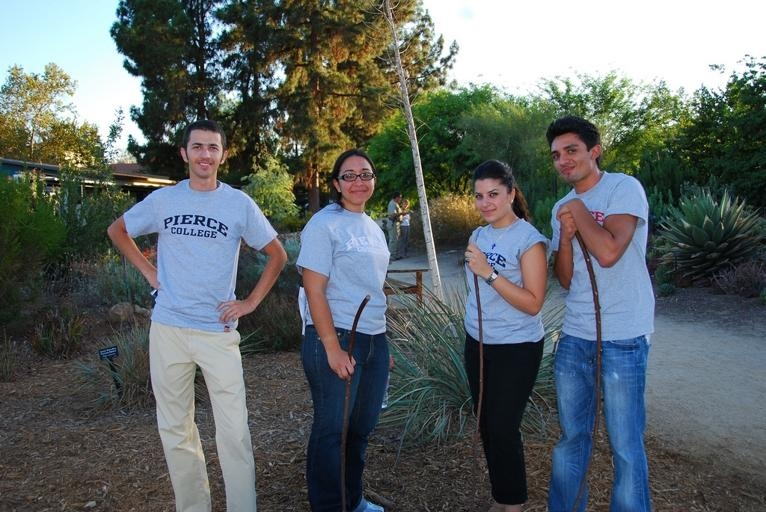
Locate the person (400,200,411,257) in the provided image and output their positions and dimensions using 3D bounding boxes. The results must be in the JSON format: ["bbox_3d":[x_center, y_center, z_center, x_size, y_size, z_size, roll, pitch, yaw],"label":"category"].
[{"bbox_3d":[0.717,-0.944,18.243,0.339,1.984,0.755,-2,2,0],"label":"person"}]

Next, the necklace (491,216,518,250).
[{"bbox_3d":[1.081,-0.204,4.679,0.218,0.263,0.133,-2,-12,26],"label":"necklace"}]
